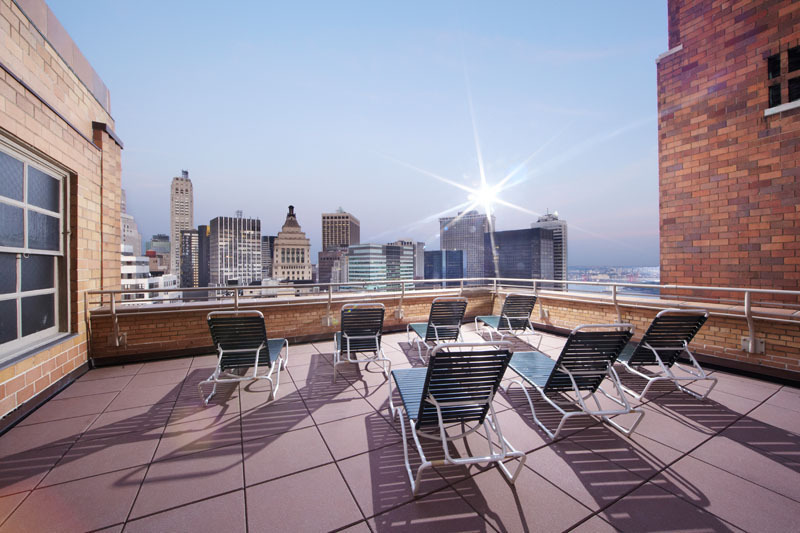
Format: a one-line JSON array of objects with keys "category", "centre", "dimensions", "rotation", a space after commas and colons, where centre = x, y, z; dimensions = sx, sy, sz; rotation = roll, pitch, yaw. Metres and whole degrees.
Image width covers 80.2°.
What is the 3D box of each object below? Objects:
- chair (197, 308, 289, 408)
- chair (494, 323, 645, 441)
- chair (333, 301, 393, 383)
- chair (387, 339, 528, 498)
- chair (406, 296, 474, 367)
[{"category": "chair", "centre": [-2.928, 1.541, 8.847], "dimensions": [1.495, 1.528, 1.516], "rotation": [-1, 3, -13]}, {"category": "chair", "centre": [2.943, 1.808, 9.093], "dimensions": [1.482, 1.832, 3.691], "rotation": [0, 1, -6]}, {"category": "chair", "centre": [-0.810, 1.266, 9.585], "dimensions": [0.894, 1.030, 1.642], "rotation": [0, 7, -10]}, {"category": "chair", "centre": [0.847, 2.007, 7.922], "dimensions": [1.611, 1.803, 2.534], "rotation": [0, 7, -6]}, {"category": "chair", "centre": [0.868, 1.298, 10.503], "dimensions": [0.916, 1.219, 1.651], "rotation": [-1, -2, -10]}]
